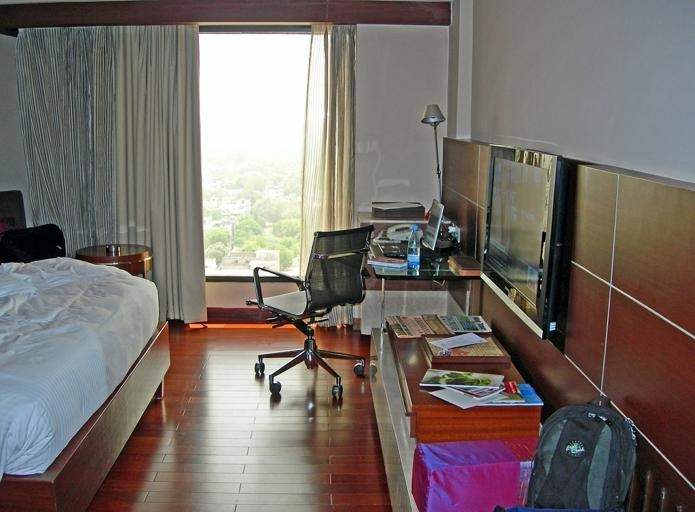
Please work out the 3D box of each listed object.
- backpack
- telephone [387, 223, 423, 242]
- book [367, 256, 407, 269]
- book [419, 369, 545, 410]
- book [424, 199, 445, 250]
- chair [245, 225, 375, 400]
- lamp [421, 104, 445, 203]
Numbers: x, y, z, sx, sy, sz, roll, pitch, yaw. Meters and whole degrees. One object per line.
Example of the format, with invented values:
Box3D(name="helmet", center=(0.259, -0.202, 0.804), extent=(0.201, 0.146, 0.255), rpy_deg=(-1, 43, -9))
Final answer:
Box3D(name="backpack", center=(0.773, 0.650, 1.660), extent=(0.294, 0.439, 0.226), rpy_deg=(10, -3, 31))
Box3D(name="telephone", center=(0.504, -0.221, 4.509), extent=(0.313, 0.110, 0.136), rpy_deg=(0, 2, -14))
Box3D(name="book", center=(0.292, 0.045, 3.847), extent=(0.300, 0.050, 0.185), rpy_deg=(3, 15, 9))
Box3D(name="book", center=(0.663, 0.665, 2.519), extent=(0.254, 0.064, 0.276), rpy_deg=(-1, 10, -9))
Box3D(name="book", center=(0.757, -0.278, 4.277), extent=(0.031, 0.496, 0.649), rpy_deg=(12, 3, 14))
Box3D(name="chair", center=(-0.308, 0.388, 4.148), extent=(0.946, 1.265, 0.961), rpy_deg=(3, 8, 15))
Box3D(name="lamp", center=(0.824, -0.986, 4.947), extent=(0.211, 0.927, 0.541), rpy_deg=(3, 14, 9))
